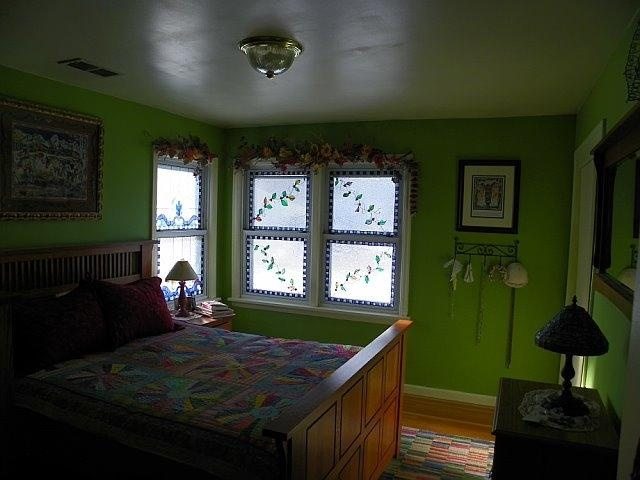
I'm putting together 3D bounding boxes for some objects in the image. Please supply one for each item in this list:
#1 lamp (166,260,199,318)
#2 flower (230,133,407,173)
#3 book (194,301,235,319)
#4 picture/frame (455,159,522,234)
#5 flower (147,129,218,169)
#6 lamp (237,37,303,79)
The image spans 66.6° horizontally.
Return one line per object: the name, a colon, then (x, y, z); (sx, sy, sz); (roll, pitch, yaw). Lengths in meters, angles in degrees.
lamp: (-1.368, 0.467, 4.846); (0.326, 0.532, 0.338); (-6, -6, 40)
flower: (-0.046, -0.917, 5.336); (1.426, 0.297, 0.224); (1, -10, 19)
book: (-1.052, 0.719, 5.051); (0.225, 0.076, 0.227); (8, 6, 33)
picture/frame: (1.672, -0.433, 4.746); (0.703, 0.896, 0.066); (2, 4, 22)
flower: (-1.442, -0.968, 5.005); (0.549, 0.236, 0.192); (1, 4, -35)
lamp: (-0.327, -1.174, 3.210); (0.435, 0.220, 0.420); (1, 7, -1)
